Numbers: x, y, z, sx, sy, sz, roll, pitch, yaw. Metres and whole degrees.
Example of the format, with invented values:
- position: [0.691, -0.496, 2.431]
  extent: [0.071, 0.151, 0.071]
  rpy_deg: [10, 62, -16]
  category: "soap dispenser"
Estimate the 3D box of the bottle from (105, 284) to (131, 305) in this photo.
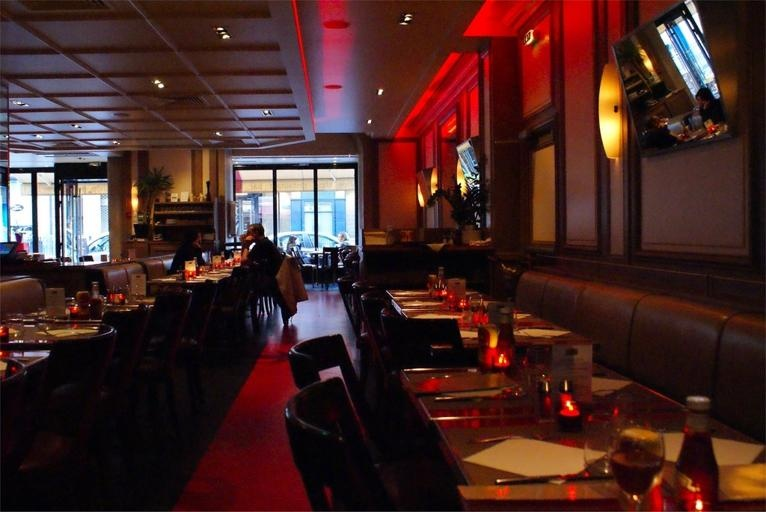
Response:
- position: [-2.364, 0.347, 5.077]
  extent: [0.177, 0.164, 0.174]
  rpy_deg: [0, -2, -7]
  category: "bottle"

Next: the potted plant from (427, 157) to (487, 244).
- position: [1.334, -0.815, 8.805]
  extent: [0.943, 1.125, 1.155]
  rpy_deg: [-6, -1, 39]
  category: "potted plant"

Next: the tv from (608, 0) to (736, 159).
- position: [2.379, -1.442, 4.749]
  extent: [0.438, 1.148, 1.061]
  rpy_deg: [2, 9, -12]
  category: "tv"
